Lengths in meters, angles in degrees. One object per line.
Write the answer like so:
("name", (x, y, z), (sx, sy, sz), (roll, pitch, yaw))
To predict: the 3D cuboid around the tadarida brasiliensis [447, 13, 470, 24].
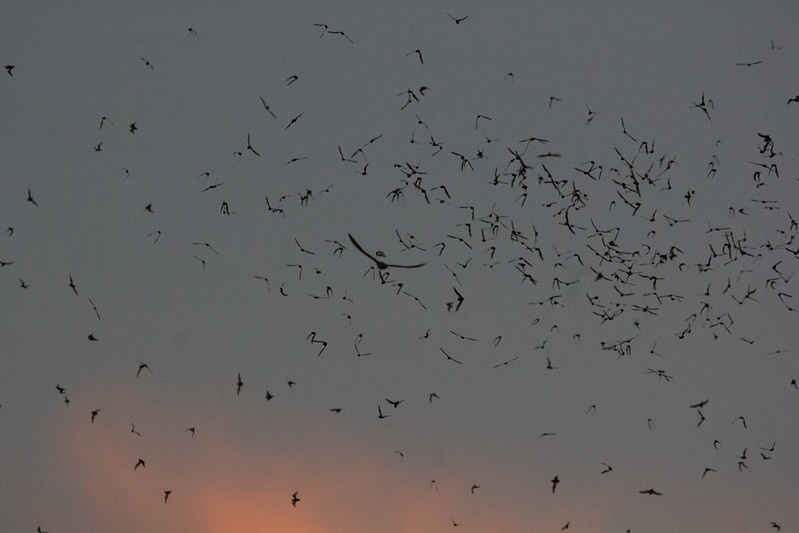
("tadarida brasiliensis", (0.256, -1.083, 5.765), (0.080, 0.039, 0.043), (1, -31, 0))
